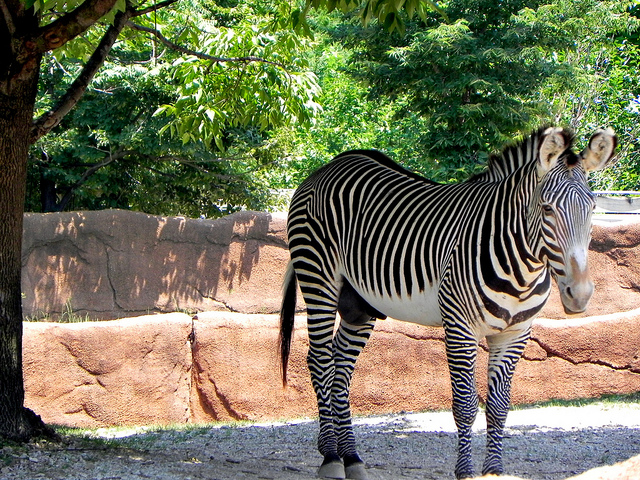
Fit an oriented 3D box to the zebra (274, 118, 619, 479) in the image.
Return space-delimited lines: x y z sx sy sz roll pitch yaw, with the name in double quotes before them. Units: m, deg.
"zebra" 1.594 0.940 13.842 4.341 3.862 1.335 1 -7 43
